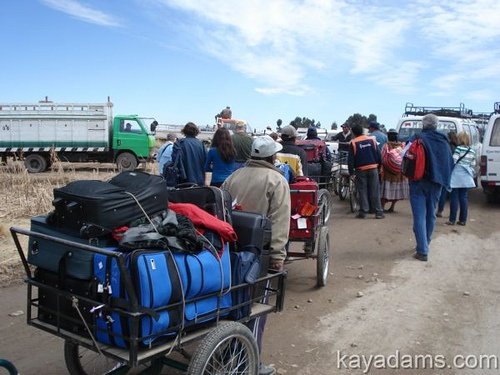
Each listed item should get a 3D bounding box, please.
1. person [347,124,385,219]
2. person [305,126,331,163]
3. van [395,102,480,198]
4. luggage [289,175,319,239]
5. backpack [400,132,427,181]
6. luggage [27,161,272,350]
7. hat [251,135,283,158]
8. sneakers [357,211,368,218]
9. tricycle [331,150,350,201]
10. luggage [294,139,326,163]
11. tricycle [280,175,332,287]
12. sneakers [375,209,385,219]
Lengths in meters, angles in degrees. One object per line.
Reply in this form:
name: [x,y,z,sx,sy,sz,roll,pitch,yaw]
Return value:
person: [3.021,-0.255,10.269,0.963,2.176,0.404,-3,9,-16]
person: [2.098,-1.384,11.678,0.607,0.584,1.148,4,13,23]
van: [7.009,-1.612,14.634,2.297,2.716,4.146,6,8,45]
luggage: [0.781,0.368,5.749,0.387,0.869,0.280,-1,9,0]
backpack: [2.967,-0.574,7.023,0.402,0.779,0.551,0,7,4]
luggage: [-0.810,0.506,3.068,1.389,0.905,1.431,2,5,25]
hat: [0.172,-0.472,4.283,0.202,0.164,0.304,7,23,31]
sneakers: [2.948,0.722,10.422,0.188,0.152,0.192,-4,-11,25]
tricycle: [2.862,-0.419,12.421,0.470,0.872,1.619,0,5,12]
luggage: [1.815,-1.084,11.050,0.568,0.394,0.772,5,18,14]
tricycle: [0.916,0.654,6.676,1.047,1.537,1.871,4,7,22]
sneakers: [3.403,0.719,10.381,0.111,0.222,0.316,7,12,32]
